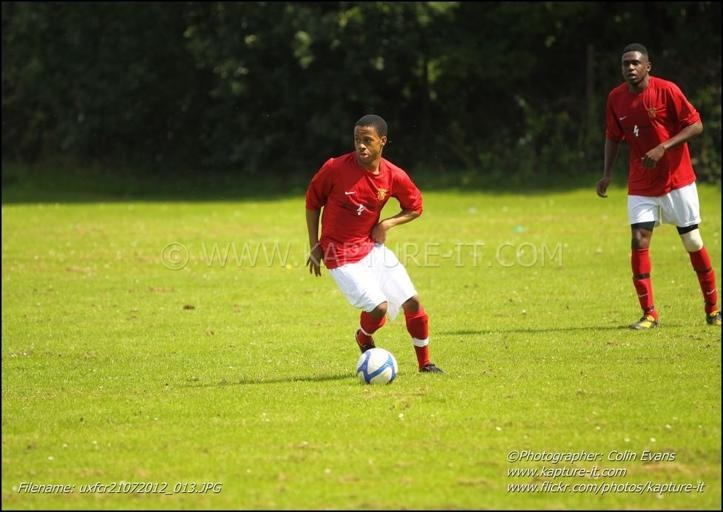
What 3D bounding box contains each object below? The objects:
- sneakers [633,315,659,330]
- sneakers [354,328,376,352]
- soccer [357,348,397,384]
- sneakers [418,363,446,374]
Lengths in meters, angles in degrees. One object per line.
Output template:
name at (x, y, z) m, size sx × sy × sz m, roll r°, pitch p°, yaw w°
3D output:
sneakers at (4.490, 1.050, 19.491) m, size 0.456 × 0.193 × 0.186 m, roll -1°, pitch -1°, yaw -12°
sneakers at (0.039, 1.252, 18.304) m, size 0.174 × 0.195 × 0.468 m, roll -25°, pitch -45°, yaw 10°
soccer at (0.225, 1.596, 18.015) m, size 0.588 × 0.466 × 0.266 m, roll -1°, pitch 14°, yaw 0°
sneakers at (1.026, 1.663, 18.266) m, size 0.348 × 0.136 × 0.146 m, roll -1°, pitch 1°, yaw 8°
